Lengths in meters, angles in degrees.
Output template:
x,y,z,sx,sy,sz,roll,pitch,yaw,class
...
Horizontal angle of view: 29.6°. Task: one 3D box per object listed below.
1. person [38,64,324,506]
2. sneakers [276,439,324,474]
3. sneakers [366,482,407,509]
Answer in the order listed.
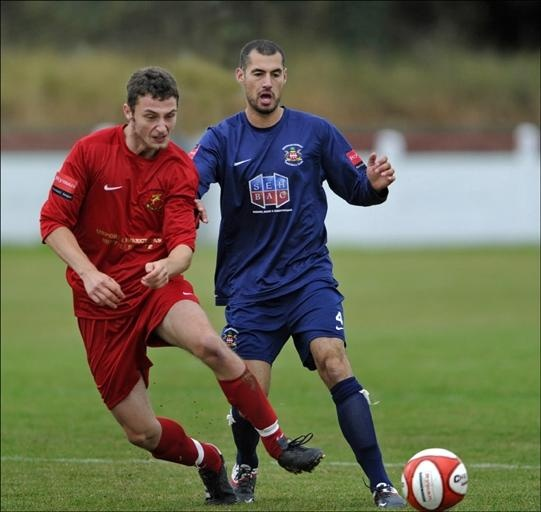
x,y,z,sx,sy,sz,roll,pitch,yaw,class
-0.841,0.278,7.393,1.578,3.258,0.765,-3,7,-9,person
0.210,1.420,7.323,0.434,0.250,0.148,-12,40,51,sneakers
0.860,1.759,7.449,0.245,0.152,0.177,-1,6,3,sneakers
